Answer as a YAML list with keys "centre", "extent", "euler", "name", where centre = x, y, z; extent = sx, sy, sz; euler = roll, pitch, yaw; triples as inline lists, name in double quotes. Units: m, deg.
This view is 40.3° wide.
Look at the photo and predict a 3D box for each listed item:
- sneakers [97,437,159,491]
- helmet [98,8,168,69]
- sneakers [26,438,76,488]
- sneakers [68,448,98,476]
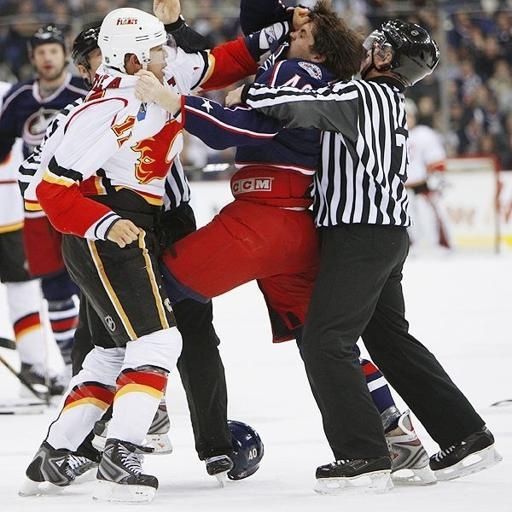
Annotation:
- centre: [-0.381, 0.626, 2.098]
  extent: [0.178, 0.135, 0.099]
  euler: [5, 20, 17]
  name: "sneakers"
- centre: [-0.378, -0.689, 2.190]
  extent: [0.263, 0.185, 0.172]
  euler: [-7, 23, -2]
  name: "helmet"
- centre: [-0.639, 0.660, 2.265]
  extent: [0.193, 0.138, 0.116]
  euler: [8, 14, -9]
  name: "sneakers"
- centre: [-0.577, 0.697, 2.370]
  extent: [0.057, 0.053, 0.139]
  euler: [-12, -18, -2]
  name: "sneakers"
